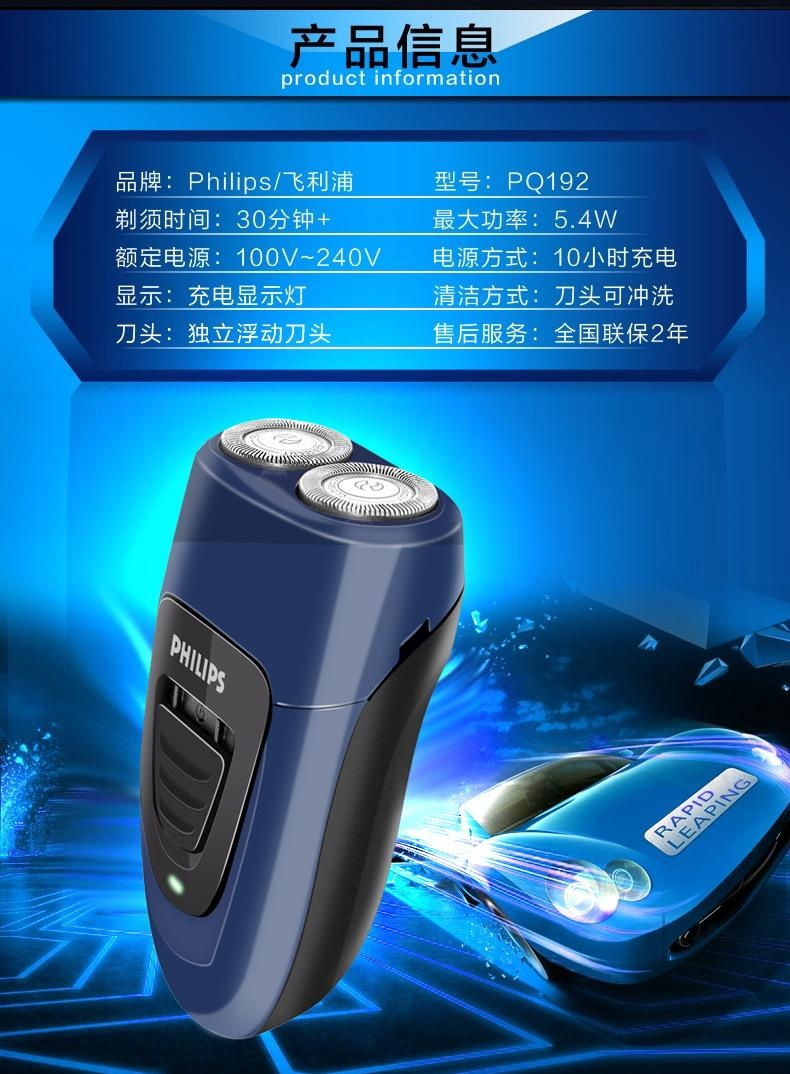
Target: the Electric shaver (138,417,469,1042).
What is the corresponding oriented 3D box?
[{"bbox_3d":[-0.123,0.236,0.993,0.329,0.701,0.214,8,8,6],"label":"Electric shaver"}]
